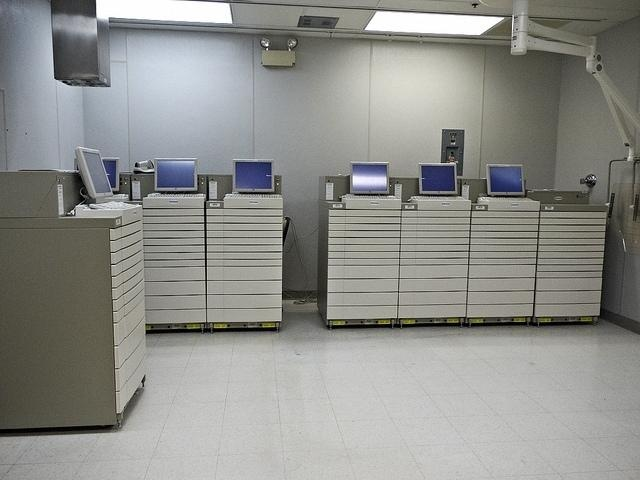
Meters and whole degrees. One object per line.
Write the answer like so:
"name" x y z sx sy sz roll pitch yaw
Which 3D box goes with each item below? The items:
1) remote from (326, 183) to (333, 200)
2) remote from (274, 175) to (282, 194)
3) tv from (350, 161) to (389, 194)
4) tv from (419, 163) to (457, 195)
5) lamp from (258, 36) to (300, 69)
"remote" 0.121 -0.615 6.158 0.106 0.213 0.080 1 12 2
"remote" -0.532 -0.687 6.047 0.070 0.220 0.113 0 12 -5
"tv" 0.616 -0.770 6.285 0.439 0.349 0.405 0 0 -3
"tv" 1.478 -0.732 6.373 0.623 0.510 0.354 0 -3 -3
"lamp" -0.620 -2.699 7.004 0.469 0.330 0.149 -1 -1 -6
